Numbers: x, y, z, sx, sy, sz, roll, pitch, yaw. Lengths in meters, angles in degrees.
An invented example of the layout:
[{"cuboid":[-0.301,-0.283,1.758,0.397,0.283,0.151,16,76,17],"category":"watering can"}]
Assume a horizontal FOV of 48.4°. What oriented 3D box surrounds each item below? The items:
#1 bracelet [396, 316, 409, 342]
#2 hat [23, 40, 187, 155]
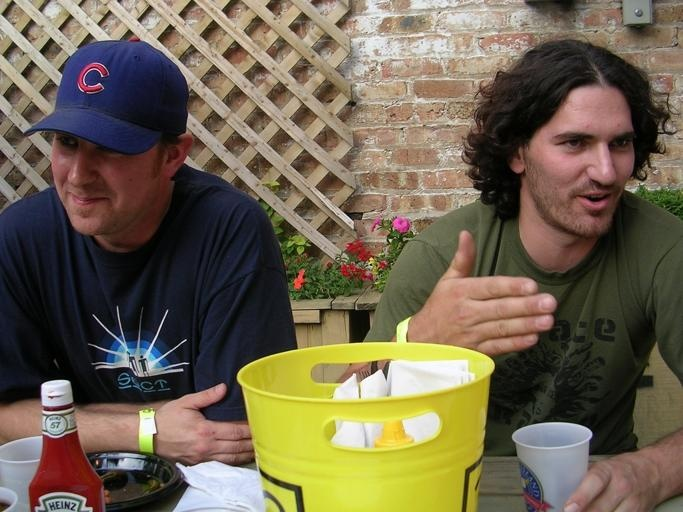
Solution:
[{"cuboid":[0.126,0.152,1.560,0.029,0.044,0.042,-2,47,19],"category":"bracelet"},{"cuboid":[-0.539,-0.405,1.827,0.332,0.246,0.447,18,20,23],"category":"hat"}]
